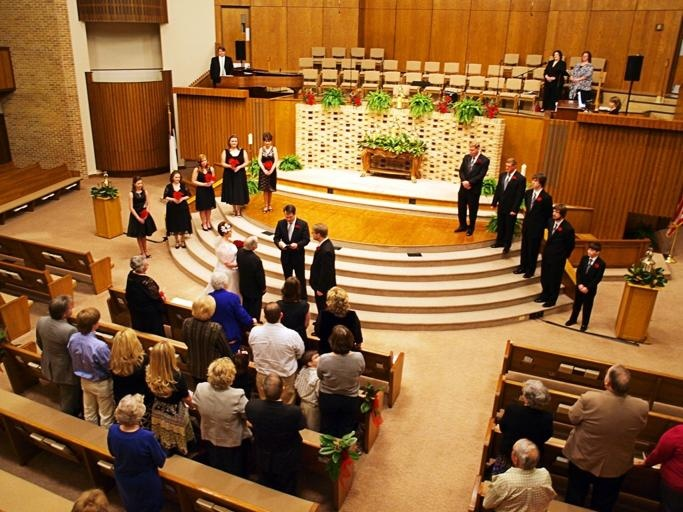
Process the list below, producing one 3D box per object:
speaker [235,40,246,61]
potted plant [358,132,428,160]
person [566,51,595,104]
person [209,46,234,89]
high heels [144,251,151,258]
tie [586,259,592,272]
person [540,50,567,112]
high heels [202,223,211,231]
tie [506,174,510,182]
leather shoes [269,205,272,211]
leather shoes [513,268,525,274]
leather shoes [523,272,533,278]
[{"bbox_3d":[-2.772,-5.672,14.007,0.228,0.475,0.370,1,17,-2],"label":"speaker"},{"bbox_3d":[1.373,-2.889,13.113,0.906,0.333,1.053,-14,24,-38],"label":"potted plant"},{"bbox_3d":[6.277,-4.549,13.228,0.508,1.471,0.581,-38,41,-26],"label":"person"},{"bbox_3d":[-3.482,-5.318,14.992,0.723,1.749,0.429,-3,-4,-3],"label":"person"},{"bbox_3d":[-4.369,-0.050,11.414,0.080,0.107,0.260,-14,24,-34],"label":"high heels"},{"bbox_3d":[4.236,0.120,8.610,0.035,0.318,0.026,14,-5,-26],"label":"tie"},{"bbox_3d":[5.445,-4.453,12.839,0.567,1.477,1.277,8,18,20],"label":"person"},{"bbox_3d":[-3.160,-0.692,11.827,0.120,0.075,0.201,-23,41,-34],"label":"high heels"},{"bbox_3d":[3.258,-1.525,9.831,0.023,0.118,0.066,5,3,-28],"label":"tie"},{"bbox_3d":[-1.659,-1.137,11.905,0.082,0.099,0.260,-2,19,-5],"label":"leather shoes"},{"bbox_3d":[3.569,0.300,10.155,0.213,0.161,0.086,5,26,9],"label":"leather shoes"},{"bbox_3d":[3.712,0.374,9.987,0.195,0.076,0.081,-3,-5,-2],"label":"leather shoes"}]
